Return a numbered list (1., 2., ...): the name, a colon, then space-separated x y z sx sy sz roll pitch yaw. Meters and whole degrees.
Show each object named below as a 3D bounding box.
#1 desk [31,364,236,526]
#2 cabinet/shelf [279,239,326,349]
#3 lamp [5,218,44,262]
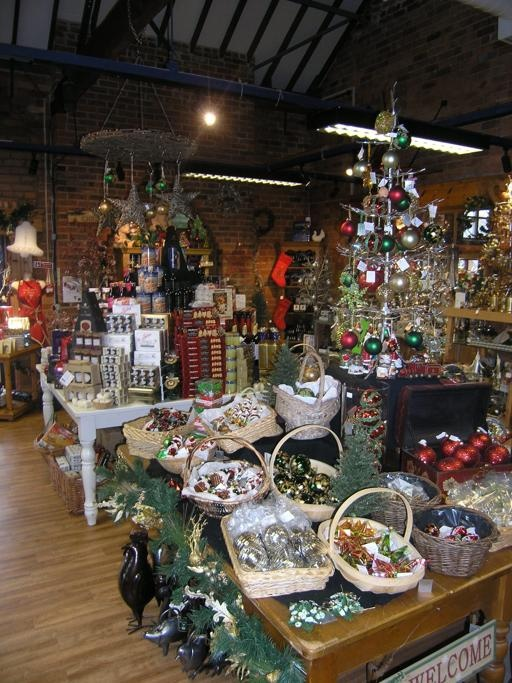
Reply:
1. desk: -0.810 0.290 3.754 1.051 0.750 1.618 -5 12 -29
2. cabinet/shelf: 0.763 -0.703 8.031 0.694 1.522 0.933 -1 7 2
3. lamp: -2.757 -1.201 6.419 0.478 0.477 0.464 1 7 -21
